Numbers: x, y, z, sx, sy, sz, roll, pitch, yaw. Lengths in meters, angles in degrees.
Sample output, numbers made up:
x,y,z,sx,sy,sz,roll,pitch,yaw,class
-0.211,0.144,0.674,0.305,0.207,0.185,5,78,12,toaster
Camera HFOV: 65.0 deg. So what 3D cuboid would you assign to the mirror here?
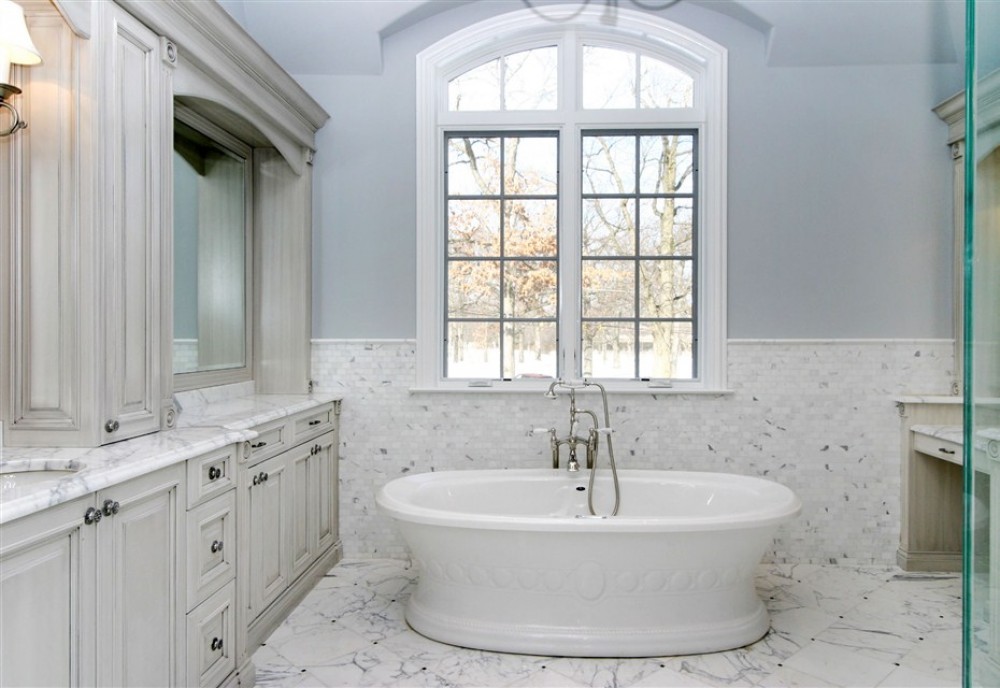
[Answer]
x,y,z,sx,sy,sz,roll,pitch,yaw,class
-1.618,-0.546,4.423,0.061,1.422,0.600,-1,1,18,mirror
